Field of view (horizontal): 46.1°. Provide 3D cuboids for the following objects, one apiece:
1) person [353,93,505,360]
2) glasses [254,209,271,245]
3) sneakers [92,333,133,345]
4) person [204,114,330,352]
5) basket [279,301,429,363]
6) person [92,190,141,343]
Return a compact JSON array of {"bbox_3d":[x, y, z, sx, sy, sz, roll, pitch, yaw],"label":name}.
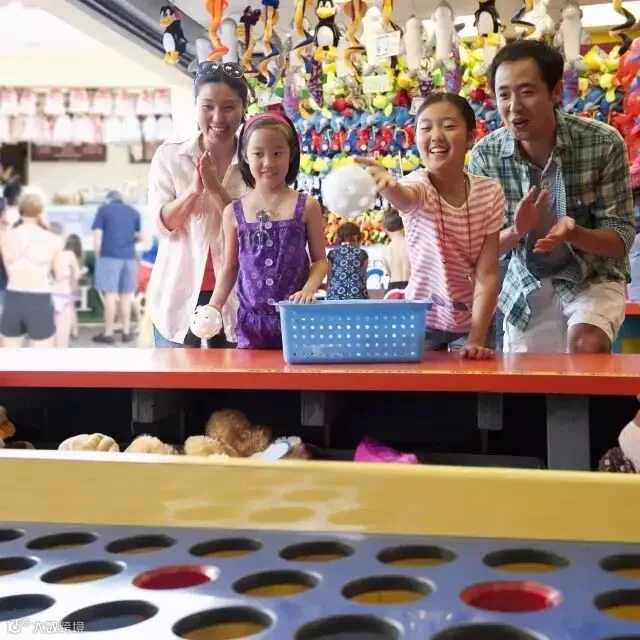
[{"bbox_3d":[0.330,-0.261,2.059,0.347,0.746,0.392,-2,6,13],"label":"person"},{"bbox_3d":[-0.175,-0.285,2.344,0.051,0.107,0.033,-1,7,20],"label":"glasses"},{"bbox_3d":[-1.803,0.171,6.612,0.337,0.115,0.104,2,-2,-7],"label":"sneakers"},{"bbox_3d":[-0.186,-0.283,2.388,0.408,0.750,0.475,-3,6,0],"label":"person"},{"bbox_3d":[0.082,0.032,1.907,0.283,0.093,0.193,1,-1,0],"label":"basket"},{"bbox_3d":[-1.723,-0.398,6.394,0.447,1.220,0.458,-5,7,-20],"label":"person"}]
